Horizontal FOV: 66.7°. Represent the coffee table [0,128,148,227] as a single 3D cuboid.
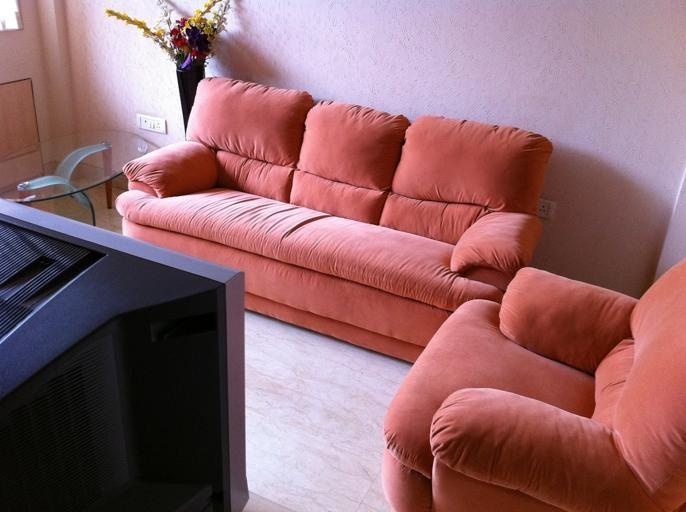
[{"bbox_3d":[-1.507,-0.446,2.964,0.492,0.370,0.716,28,49,27],"label":"coffee table"}]
